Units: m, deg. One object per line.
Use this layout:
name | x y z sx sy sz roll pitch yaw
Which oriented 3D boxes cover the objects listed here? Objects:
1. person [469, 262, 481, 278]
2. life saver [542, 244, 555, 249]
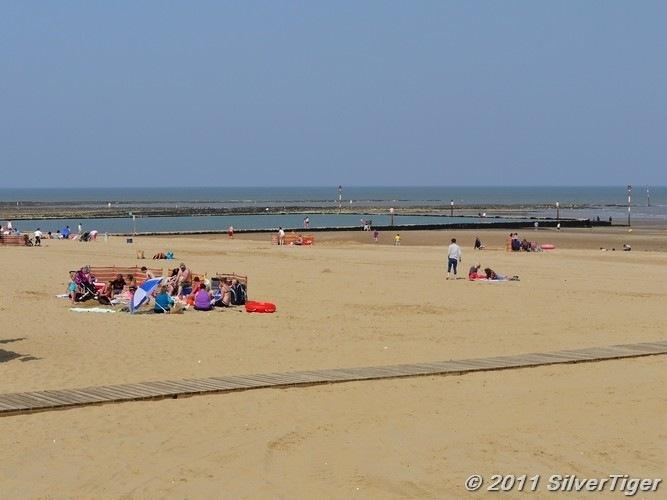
person | 4.631 0.663 28.048 0.281 0.514 1.564 2 11 12
life saver | 11.641 -0.174 46.434 0.504 0.141 0.460 -1 6 -5
